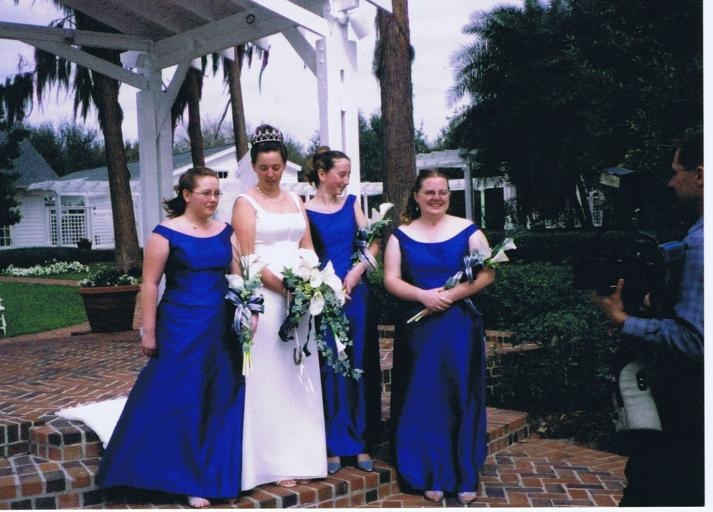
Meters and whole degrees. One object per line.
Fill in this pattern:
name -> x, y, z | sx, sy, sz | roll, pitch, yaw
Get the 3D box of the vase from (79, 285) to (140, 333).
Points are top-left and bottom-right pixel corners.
vase -> -3.993, 0.904, 11.867 | 1.065, 0.800, 1.057 | 0, -2, -43

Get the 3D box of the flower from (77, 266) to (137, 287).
flower -> -4.042, 0.381, 11.526 | 0.551, 0.239, 0.561 | -2, 0, 21

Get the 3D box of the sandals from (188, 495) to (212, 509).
sandals -> -1.312, 2.060, 6.007 | 0.150, 0.073, 0.083 | -2, 7, 12

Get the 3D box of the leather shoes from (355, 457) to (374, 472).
leather shoes -> 0.101, 1.897, 6.540 | 0.169, 0.098, 0.150 | 0, 15, -14

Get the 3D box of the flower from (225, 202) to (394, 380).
flower -> -0.511, 0.448, 6.694 | 1.305, 1.502, 0.681 | -5, -12, -34

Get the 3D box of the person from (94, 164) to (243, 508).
person -> -1.480, 0.633, 6.062 | 1.080, 2.609, 0.894 | 1, 14, -7

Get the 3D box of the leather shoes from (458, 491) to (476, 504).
leather shoes -> 0.981, 2.118, 6.301 | 0.097, 0.060, 0.122 | 6, -13, -27
